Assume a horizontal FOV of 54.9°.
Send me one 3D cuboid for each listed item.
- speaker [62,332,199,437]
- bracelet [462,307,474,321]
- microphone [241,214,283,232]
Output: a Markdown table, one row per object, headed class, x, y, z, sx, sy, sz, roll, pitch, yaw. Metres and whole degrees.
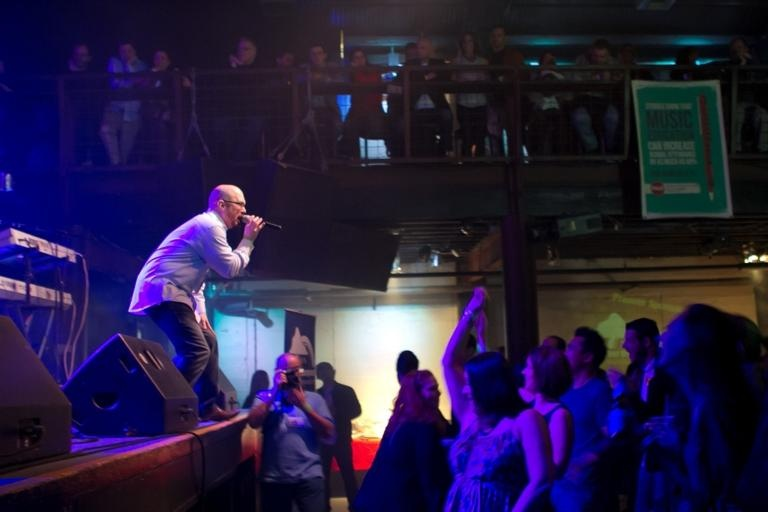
| class | x | y | z | sx | sy | sz | roll | pitch | yaw |
| --- | --- | --- | --- | --- | --- | --- | --- | --- | --- |
| speaker | -2.128 | 0.987 | 6.228 | 0.876 | 0.666 | 0.934 | 0 | -7 | -7 |
| bracelet | 0.730 | 0.500 | 6.405 | 0.089 | 0.127 | 0.094 | -4 | 1 | -14 |
| microphone | -1.332 | -0.357 | 7.960 | 0.486 | 0.128 | 0.122 | 23 | 15 | 29 |
